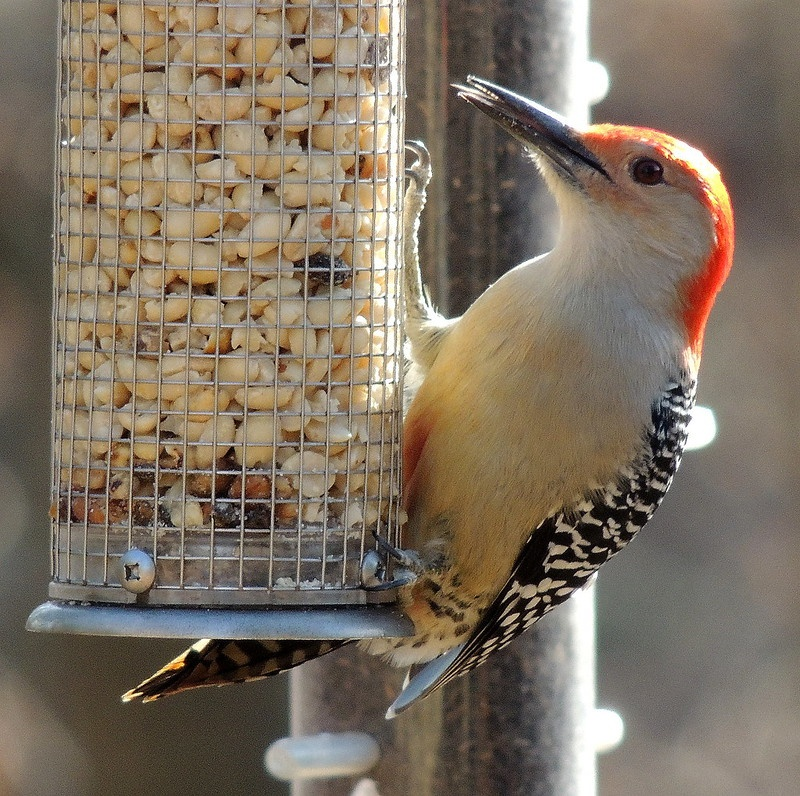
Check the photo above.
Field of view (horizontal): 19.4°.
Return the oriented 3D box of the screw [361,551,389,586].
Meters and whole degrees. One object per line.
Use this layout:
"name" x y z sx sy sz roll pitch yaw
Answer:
"screw" -0.070 0.470 6.302 0.071 0.087 0.021 -24 22 -39
